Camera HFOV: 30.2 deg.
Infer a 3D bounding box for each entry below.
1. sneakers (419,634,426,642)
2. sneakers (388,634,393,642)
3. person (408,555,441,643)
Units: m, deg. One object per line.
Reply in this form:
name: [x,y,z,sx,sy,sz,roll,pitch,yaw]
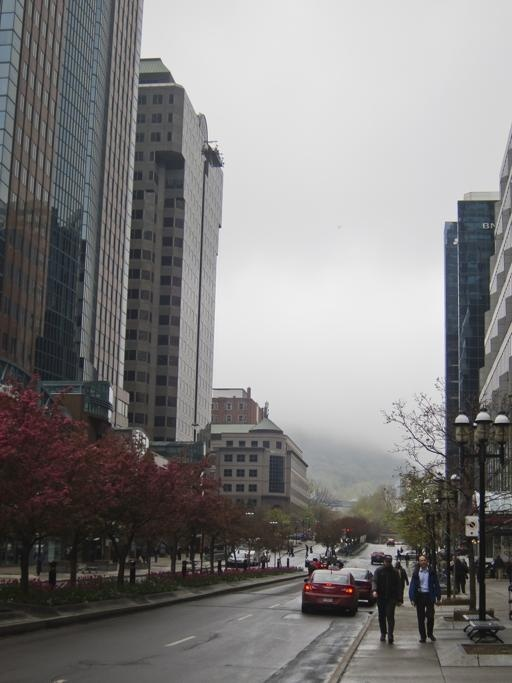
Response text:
sneakers: [3.376,6.035,19.261,0.092,0.175,0.098,3,-13,-9]
sneakers: [2.757,6.120,19.540,0.089,0.123,0.101,-1,0,8]
person: [3.486,5.336,19.647,0.580,1.706,1.605,-1,-13,10]
